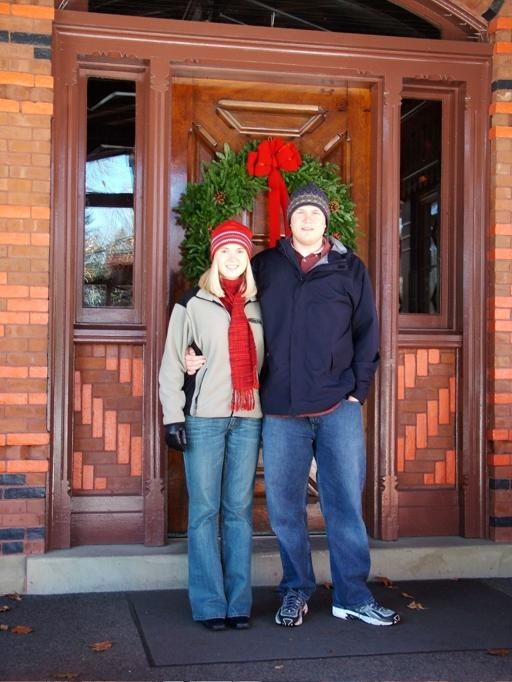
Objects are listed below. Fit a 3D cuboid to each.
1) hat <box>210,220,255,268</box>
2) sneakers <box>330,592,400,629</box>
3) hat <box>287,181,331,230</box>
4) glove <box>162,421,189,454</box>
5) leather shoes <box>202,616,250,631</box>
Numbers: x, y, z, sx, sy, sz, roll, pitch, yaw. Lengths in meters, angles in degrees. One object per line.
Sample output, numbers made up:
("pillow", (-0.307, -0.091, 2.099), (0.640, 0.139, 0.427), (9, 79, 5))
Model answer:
("hat", (-0.106, -0.453, 3.561), (0.158, 0.166, 0.198), (1, -11, -4))
("sneakers", (0.490, 1.214, 3.509), (0.290, 0.123, 0.102), (-2, -10, 24))
("hat", (0.231, -0.655, 3.683), (0.193, 0.199, 0.204), (6, -31, 1))
("glove", (-0.352, 0.417, 3.401), (0.095, 0.118, 0.059), (0, 7, 29))
("leather shoes", (-0.119, 1.205, 3.373), (0.214, 0.083, 0.070), (5, -6, -15))
